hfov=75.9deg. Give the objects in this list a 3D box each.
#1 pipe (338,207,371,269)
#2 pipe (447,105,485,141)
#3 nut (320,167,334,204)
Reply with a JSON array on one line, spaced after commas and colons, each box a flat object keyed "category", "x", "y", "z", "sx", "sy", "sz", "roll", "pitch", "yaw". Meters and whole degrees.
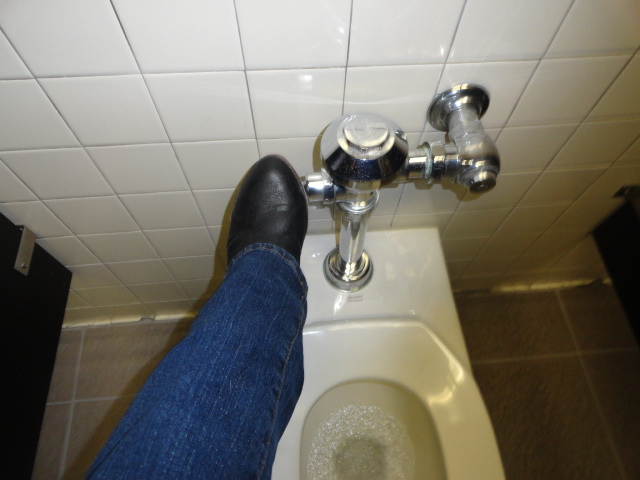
[{"category": "pipe", "x": 0.067, "y": -0.007, "z": 0.830, "sx": 0.061, "sy": 0.184, "sz": 0.061, "roll": 8, "pitch": 46, "yaw": 7}, {"category": "pipe", "x": 0.264, "y": -0.211, "z": 0.757, "sx": 0.057, "sy": 0.062, "sz": 0.075, "roll": -5, "pitch": 74, "yaw": 7}, {"category": "nut", "x": 0.014, "y": -0.096, "z": 0.728, "sx": 0.021, "sy": 0.059, "sz": 0.041, "roll": -4, "pitch": 46, "yaw": -1}]
